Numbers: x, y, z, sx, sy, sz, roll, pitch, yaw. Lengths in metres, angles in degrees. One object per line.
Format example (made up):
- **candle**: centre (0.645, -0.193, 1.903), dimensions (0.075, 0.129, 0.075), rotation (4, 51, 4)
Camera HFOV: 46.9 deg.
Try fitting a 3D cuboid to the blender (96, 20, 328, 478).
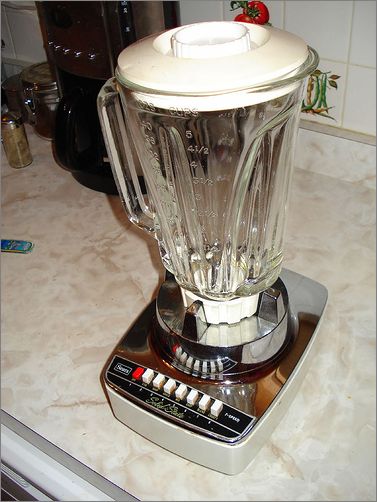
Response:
- **blender**: centre (0.018, -0.002, 0.419), dimensions (0.200, 0.387, 0.239), rotation (8, 36, 23)
